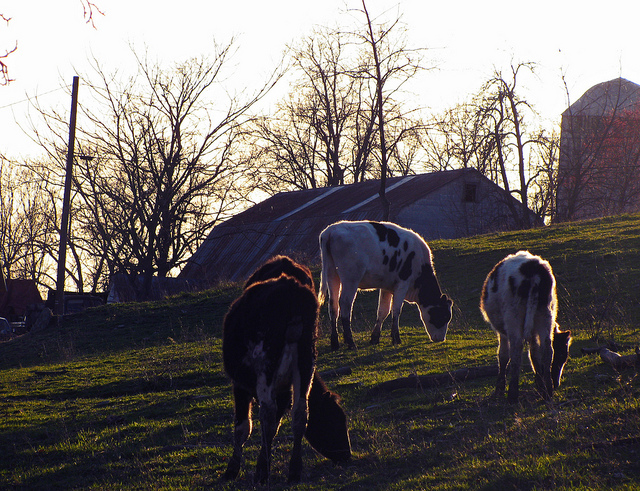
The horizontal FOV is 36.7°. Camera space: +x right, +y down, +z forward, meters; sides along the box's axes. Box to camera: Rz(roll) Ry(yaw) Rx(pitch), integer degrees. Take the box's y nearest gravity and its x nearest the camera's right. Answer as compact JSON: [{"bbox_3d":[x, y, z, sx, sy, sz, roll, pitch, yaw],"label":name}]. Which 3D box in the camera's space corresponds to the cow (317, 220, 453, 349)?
[{"bbox_3d":[2.225,1.353,30.952,4.414,4.194,1.353,9,-6,-17],"label":"cow"}]

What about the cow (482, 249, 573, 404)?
[{"bbox_3d":[5.218,1.960,24.300,1.947,3.363,1.698,-4,9,14],"label":"cow"}]
